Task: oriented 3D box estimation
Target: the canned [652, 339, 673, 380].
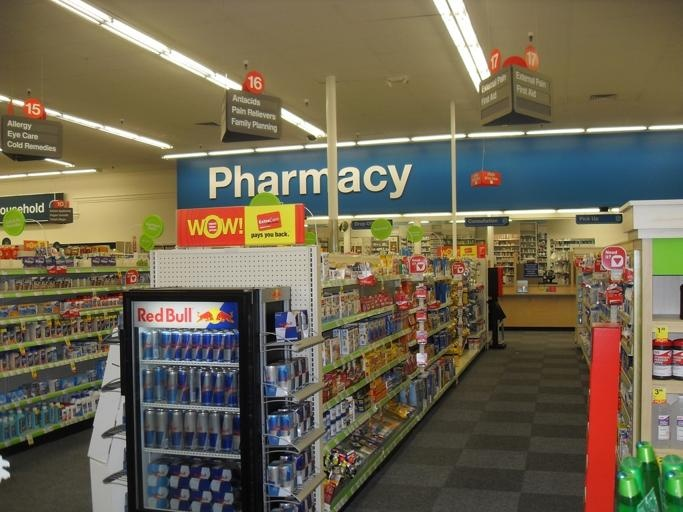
[{"bbox_3d":[2.438,0.778,4.049,0.161,0.238,0.061,-1,0,-6],"label":"canned"}]
